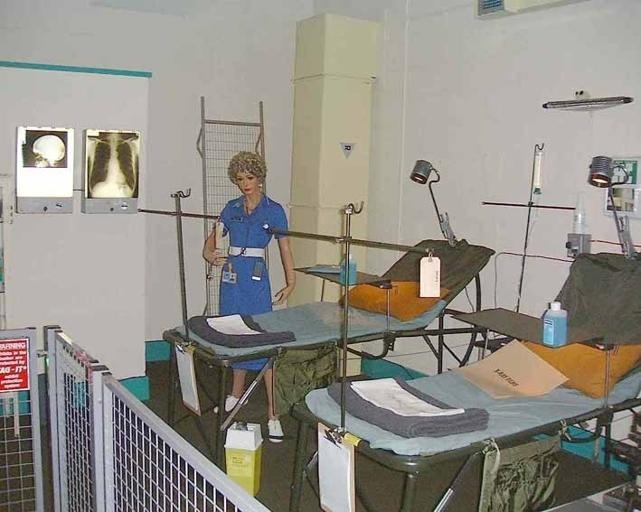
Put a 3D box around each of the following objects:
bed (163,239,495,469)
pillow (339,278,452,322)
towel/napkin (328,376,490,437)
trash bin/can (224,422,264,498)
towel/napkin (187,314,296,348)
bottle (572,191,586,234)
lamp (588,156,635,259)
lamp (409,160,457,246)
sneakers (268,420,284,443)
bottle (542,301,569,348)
[{"bbox_3d":[0.179,0.485,4.027,2.191,0.927,0.911,-5,13,-26],"label":"bed"},{"bbox_3d":[0.474,0.304,4.174,0.394,0.118,0.359,6,15,44],"label":"pillow"},{"bbox_3d":[0.382,0.686,2.745,0.329,0.075,0.362,0,6,-35],"label":"towel/napkin"},{"bbox_3d":[-0.416,1.132,3.305,0.187,0.497,0.211,-1,14,-9],"label":"trash bin/can"},{"bbox_3d":[-0.491,0.430,3.597,0.431,0.069,0.615,-11,18,-43],"label":"towel/napkin"},{"bbox_3d":[1.655,-0.269,3.893,0.051,0.254,0.093,-3,14,-16],"label":"bottle"},{"bbox_3d":[1.759,-0.299,3.637,0.318,0.564,0.269,12,17,37],"label":"lamp"},{"bbox_3d":[0.889,-0.415,4.747,0.297,0.172,0.809,-24,47,5],"label":"lamp"},{"bbox_3d":[-0.316,1.150,4.014,0.095,0.148,0.153,0,1,-15],"label":"sneakers"},{"bbox_3d":[1.125,0.316,2.915,0.118,0.218,0.201,7,14,21],"label":"bottle"}]
